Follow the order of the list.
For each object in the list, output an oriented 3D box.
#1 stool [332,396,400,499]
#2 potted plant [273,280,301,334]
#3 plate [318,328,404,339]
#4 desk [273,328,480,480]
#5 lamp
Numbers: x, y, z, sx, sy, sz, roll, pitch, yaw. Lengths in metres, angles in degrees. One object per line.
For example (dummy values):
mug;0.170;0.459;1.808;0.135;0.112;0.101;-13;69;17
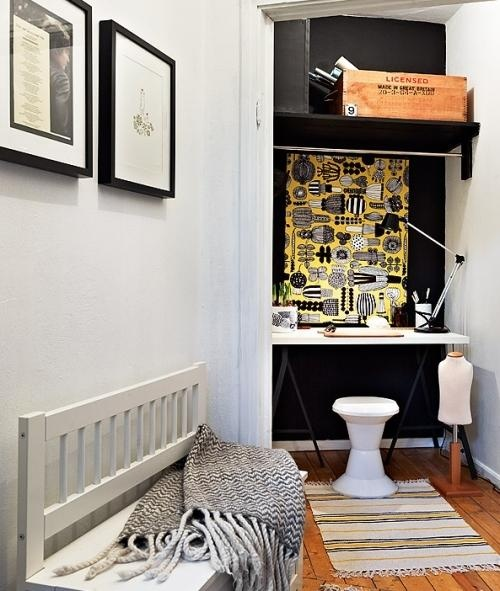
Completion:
stool;0.620;0.799;2.778;0.318;0.494;0.371;0;-3;1
potted plant;0.183;0.065;3.004;0.154;0.285;0.167;1;-6;-40
plate;0.617;0.209;2.927;0.460;0.039;0.272;-1;2;-4
desk;0.640;0.620;3.175;1.129;0.816;0.448;-1;-2;5
lamp;1.042;-0.157;3.185;0.469;0.722;0.483;0;1;8
